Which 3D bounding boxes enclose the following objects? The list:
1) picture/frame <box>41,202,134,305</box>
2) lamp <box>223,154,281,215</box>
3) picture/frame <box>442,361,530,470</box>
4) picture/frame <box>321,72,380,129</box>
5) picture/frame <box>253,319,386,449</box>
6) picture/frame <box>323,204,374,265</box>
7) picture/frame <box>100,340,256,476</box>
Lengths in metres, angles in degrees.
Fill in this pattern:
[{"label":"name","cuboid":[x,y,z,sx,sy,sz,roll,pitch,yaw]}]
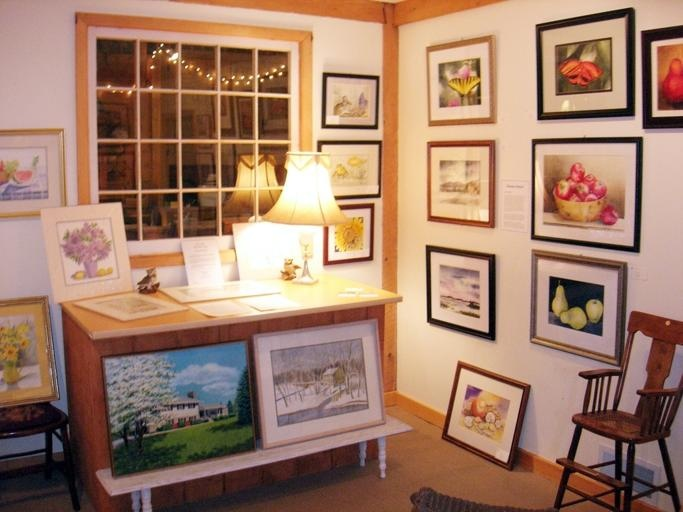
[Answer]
[{"label":"picture/frame","cuboid":[-1.793,-0.002,3.687,0.582,0.755,0.025,-10,0,-37]},{"label":"lamp","cuboid":[-0.744,-0.615,4.462,0.429,0.321,0.454,-3,16,-7]},{"label":"picture/frame","cuboid":[1.151,1.259,4.146,0.061,0.700,0.654,12,2,-42]},{"label":"picture/frame","cuboid":[0.053,-1.345,4.599,0.485,0.441,0.034,-2,6,-28]},{"label":"picture/frame","cuboid":[-0.188,0.876,3.616,0.865,0.756,0.086,-3,-6,-31]},{"label":"picture/frame","cuboid":[0.044,-0.198,4.580,0.456,0.498,0.031,-8,13,-36]},{"label":"picture/frame","cuboid":[-1.036,0.931,3.240,0.809,0.683,0.034,-4,-6,-32]}]
